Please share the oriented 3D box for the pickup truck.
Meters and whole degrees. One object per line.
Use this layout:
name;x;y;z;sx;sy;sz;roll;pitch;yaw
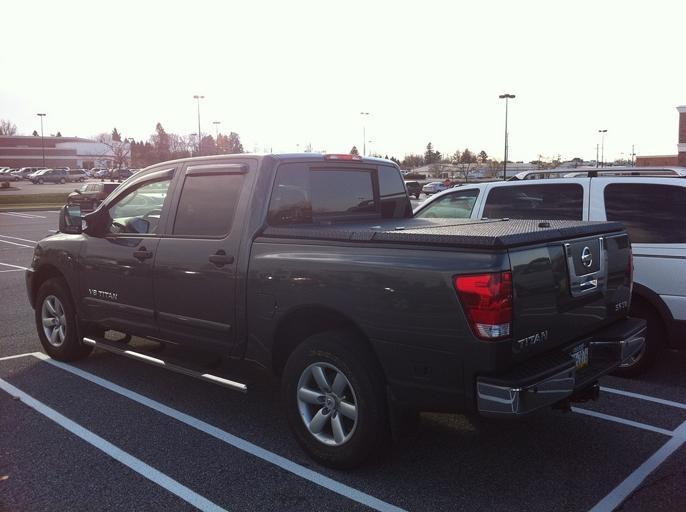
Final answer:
pickup truck;-0.711;0.172;4.918;6.820;2.524;2.689;5;9;35
